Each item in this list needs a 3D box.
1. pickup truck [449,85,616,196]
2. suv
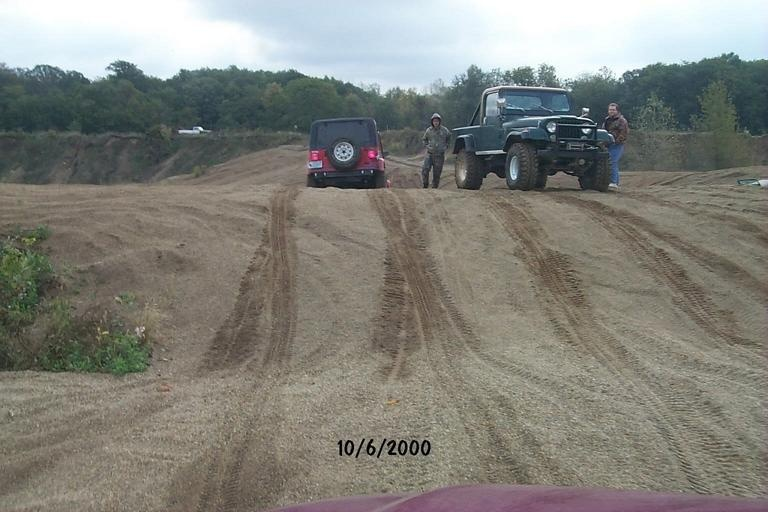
[{"bbox_3d":[3.343,-2.728,12.903,2.132,1.984,3.626,-2,5,-22],"label":"pickup truck"},{"bbox_3d":[-0.884,-2.343,12.451,1.193,1.034,2.047,-1,17,0],"label":"suv"}]
